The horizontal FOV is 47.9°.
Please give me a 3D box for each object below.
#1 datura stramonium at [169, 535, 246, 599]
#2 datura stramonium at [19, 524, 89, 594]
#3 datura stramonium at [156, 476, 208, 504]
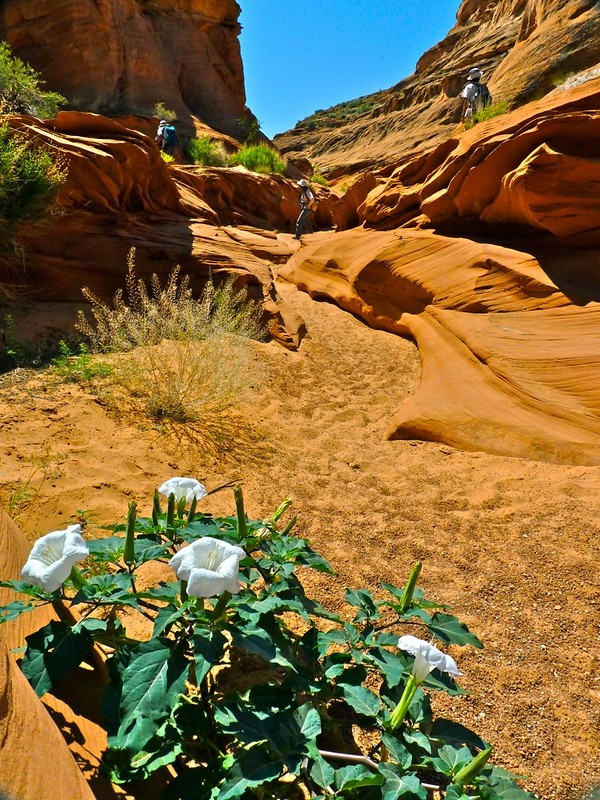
[{"bbox_3d":[-0.212,0.393,1.582,0.177,0.079,0.157,6,31,-20],"label":"datura stramonium"},{"bbox_3d":[-0.602,0.400,1.656,0.147,0.176,0.175,1,-3,-20],"label":"datura stramonium"},{"bbox_3d":[-0.355,0.280,2.070,0.129,0.079,0.167,0,-3,-7],"label":"datura stramonium"}]
